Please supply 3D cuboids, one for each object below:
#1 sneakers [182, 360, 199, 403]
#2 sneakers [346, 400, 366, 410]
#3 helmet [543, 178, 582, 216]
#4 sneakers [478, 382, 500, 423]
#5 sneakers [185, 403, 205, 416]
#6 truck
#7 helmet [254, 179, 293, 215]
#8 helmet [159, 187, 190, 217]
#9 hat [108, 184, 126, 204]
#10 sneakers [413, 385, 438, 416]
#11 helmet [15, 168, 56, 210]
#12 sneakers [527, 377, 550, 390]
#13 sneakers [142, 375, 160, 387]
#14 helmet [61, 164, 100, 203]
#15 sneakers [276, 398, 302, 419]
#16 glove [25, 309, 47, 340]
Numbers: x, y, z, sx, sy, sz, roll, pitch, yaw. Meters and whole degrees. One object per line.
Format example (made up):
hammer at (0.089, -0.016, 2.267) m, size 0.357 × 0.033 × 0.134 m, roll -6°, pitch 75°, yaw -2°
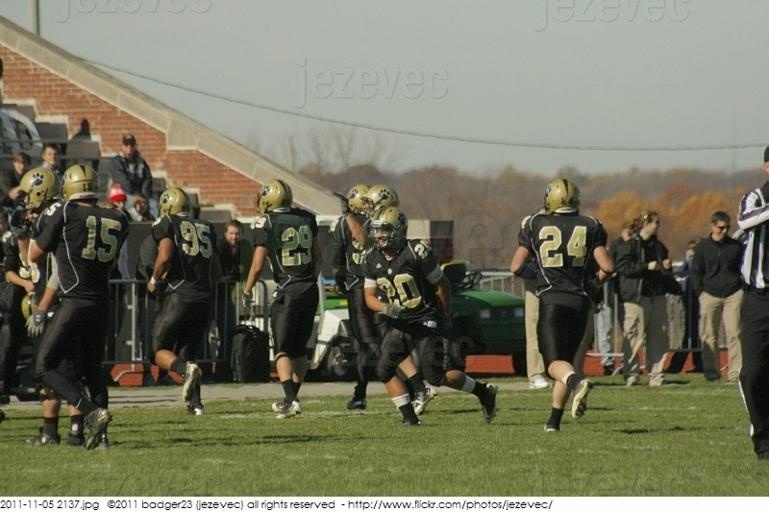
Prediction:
sneakers at (-2.464, 1.606, 20.919) m, size 0.186 × 0.487 × 0.223 m, roll 14°, pitch -7°, yaw -28°
sneakers at (-0.377, 2.014, 22.119) m, size 0.208 × 0.086 × 0.117 m, roll 4°, pitch 5°, yaw 33°
helmet at (2.155, -0.686, 20.291) m, size 0.447 × 0.472 × 0.592 m, roll 1°, pitch -5°, yaw -9°
sneakers at (1.322, 1.863, 20.746) m, size 0.178 × 0.515 × 0.257 m, roll -5°, pitch -3°, yaw 38°
sneakers at (-2.443, 2.003, 21.463) m, size 0.279 × 0.122 × 0.100 m, roll 7°, pitch 7°, yaw 42°
truck at (0.700, 0.470, 26.147) m, size 1.736 × 1.684 × 3.200 m, roll 12°, pitch -3°, yaw -37°
helmet at (-1.454, -0.763, 21.930) m, size 0.548 × 0.490 × 0.438 m, roll 2°, pitch 1°, yaw 44°
helmet at (-2.800, -0.700, 21.849) m, size 0.406 × 0.396 × 0.315 m, roll 4°, pitch 1°, yaw 43°
hat at (-4.094, -0.922, 25.297) m, size 0.233 × 0.205 × 0.327 m, roll -29°, pitch 11°, yaw -19°
sneakers at (0.505, 1.818, 21.167) m, size 0.268 × 0.179 × 0.507 m, roll 5°, pitch 13°, yaw 3°
helmet at (-4.148, -0.778, 19.959) m, size 0.488 × 0.540 × 0.506 m, roll 6°, pitch 1°, yaw 32°
sneakers at (2.204, 1.871, 23.940) m, size 0.171 × 0.147 × 0.248 m, roll 1°, pitch -9°, yaw 34°
sneakers at (-3.493, 1.902, 24.841) m, size 0.227 × 0.214 × 0.163 m, roll 4°, pitch -10°, yaw -34°
helmet at (-3.595, -0.847, 19.691) m, size 0.455 × 0.480 × 0.593 m, roll -5°, pitch 2°, yaw -35°
sneakers at (-1.190, 1.973, 21.083) m, size 0.391 × 0.172 × 0.152 m, roll 0°, pitch 1°, yaw 15°
glove at (-4.086, 0.823, 19.528) m, size 0.289 × 0.303 × 0.084 m, roll 4°, pitch -7°, yaw 21°
